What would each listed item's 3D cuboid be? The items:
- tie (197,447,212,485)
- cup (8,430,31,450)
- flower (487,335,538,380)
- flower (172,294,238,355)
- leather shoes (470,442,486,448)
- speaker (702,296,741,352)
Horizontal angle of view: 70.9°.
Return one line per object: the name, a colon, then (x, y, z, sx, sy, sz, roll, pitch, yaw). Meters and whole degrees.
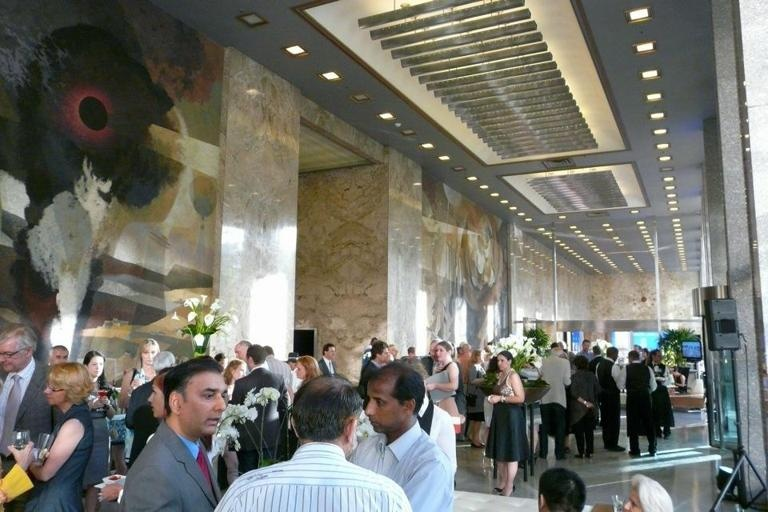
tie: (-1.207, 1.416, 3.642, 0.073, 0.205, 0.161, -11, -4, 11)
cup: (-2.910, 1.477, 4.334, 0.136, 0.144, 0.135, 2, -12, 1)
flower: (2.377, 1.752, 9.646, 0.909, 0.760, 0.885, 5, -16, -17)
flower: (-2.703, 1.203, 8.150, 0.699, 0.807, 0.651, 16, -4, -44)
leather shoes: (2.073, 4.159, 11.880, 0.321, 0.083, 0.117, -4, -10, 23)
speaker: (4.633, 0.938, 7.399, 0.412, 0.698, 0.230, -1, -6, -10)
